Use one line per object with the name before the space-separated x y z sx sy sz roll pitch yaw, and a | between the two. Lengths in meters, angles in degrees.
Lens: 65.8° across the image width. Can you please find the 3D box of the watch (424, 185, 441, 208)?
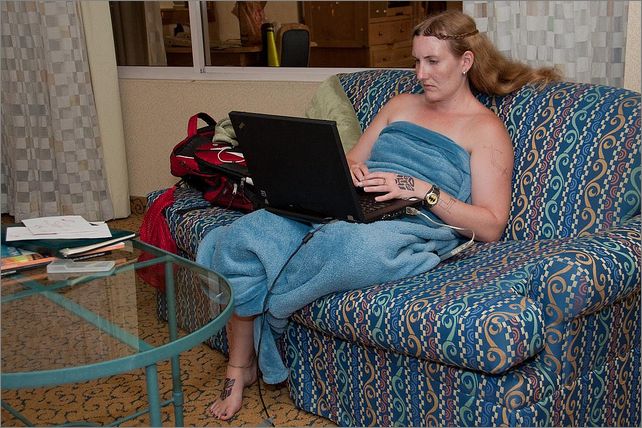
watch | 0.420 -0.062 1.855 0.053 0.076 0.083 29 29 12

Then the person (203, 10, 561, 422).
person | 0.353 -0.245 2.311 1.919 1.133 1.079 -29 33 -22

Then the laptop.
laptop | 0.008 -0.205 1.852 0.479 0.377 0.525 12 24 39
